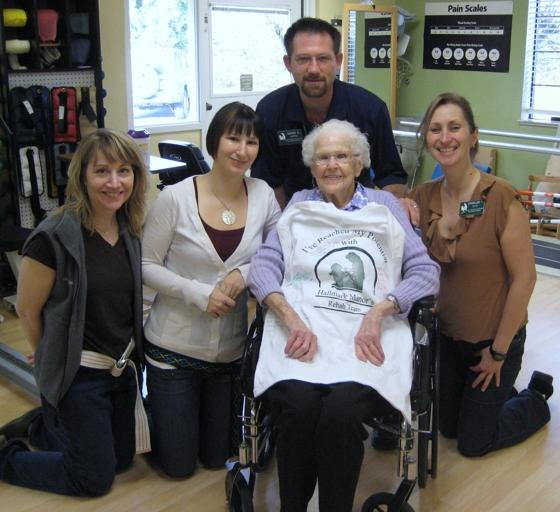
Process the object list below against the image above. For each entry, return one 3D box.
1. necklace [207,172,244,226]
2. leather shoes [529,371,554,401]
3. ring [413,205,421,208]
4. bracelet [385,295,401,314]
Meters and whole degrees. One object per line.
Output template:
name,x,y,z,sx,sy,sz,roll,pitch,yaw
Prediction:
necklace,-0.213,-0.196,1.835,0.117,0.163,0.063,9,16,32
leather shoes,1.189,0.598,2.302,0.083,0.125,0.069,21,-8,43
ring,0.534,-0.195,1.981,0.023,0.014,0.034,1,1,20
bracelet,0.355,0.146,1.574,0.020,0.053,0.044,-14,-25,0
